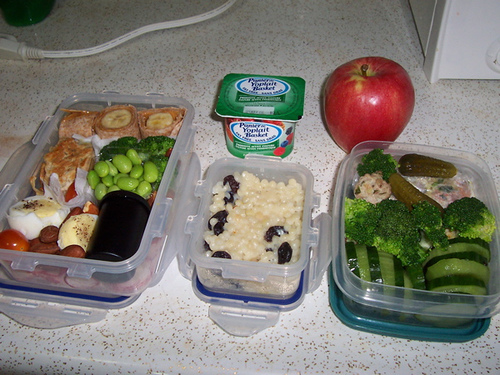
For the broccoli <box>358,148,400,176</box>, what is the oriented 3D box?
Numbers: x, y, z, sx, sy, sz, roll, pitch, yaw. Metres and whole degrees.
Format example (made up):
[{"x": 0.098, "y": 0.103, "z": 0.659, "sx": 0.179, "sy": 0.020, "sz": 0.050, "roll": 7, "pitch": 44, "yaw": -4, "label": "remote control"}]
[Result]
[{"x": 0.352, "y": -0.068, "z": 1.167, "sx": 0.103, "sy": 0.118, "sz": 0.071, "roll": -7, "pitch": 108, "yaw": -25, "label": "broccoli"}]

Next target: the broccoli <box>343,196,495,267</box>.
[{"x": 0.439, "y": 0.111, "z": 1.040, "sx": 0.387, "sy": 0.056, "sz": 0.171, "roll": -1, "pitch": 69, "yaw": 3, "label": "broccoli"}]
